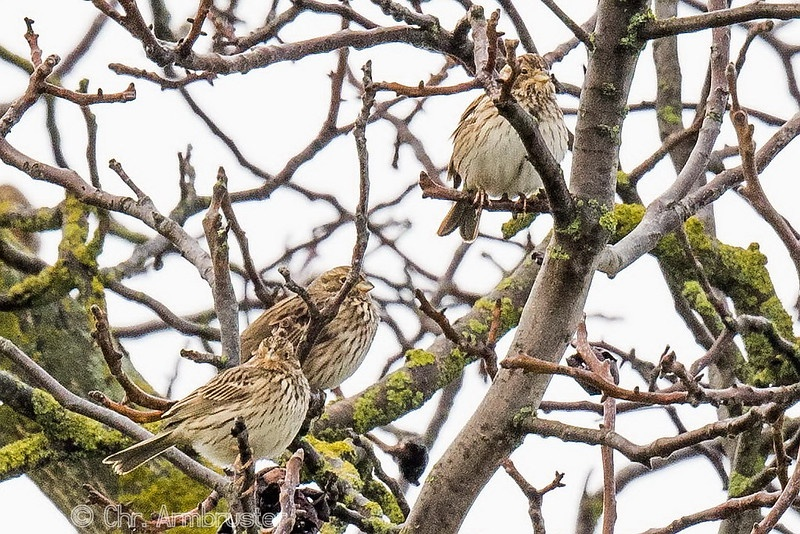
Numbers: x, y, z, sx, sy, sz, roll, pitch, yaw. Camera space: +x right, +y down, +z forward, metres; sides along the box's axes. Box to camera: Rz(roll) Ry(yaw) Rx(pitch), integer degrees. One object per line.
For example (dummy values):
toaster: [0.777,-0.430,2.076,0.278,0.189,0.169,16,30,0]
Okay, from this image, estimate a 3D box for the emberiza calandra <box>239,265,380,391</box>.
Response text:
emberiza calandra: [-0.514,0.422,8.070,1.194,0.760,1.033,-1,-99,-1]

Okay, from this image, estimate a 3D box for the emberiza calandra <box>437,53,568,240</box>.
emberiza calandra: [0.715,-0.912,8.722,1.233,0.734,1.312,-14,-110,60]

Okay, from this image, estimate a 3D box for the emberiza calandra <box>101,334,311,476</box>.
emberiza calandra: [-1.210,0.975,7.025,0.841,1.200,0.726,-26,-103,46]
